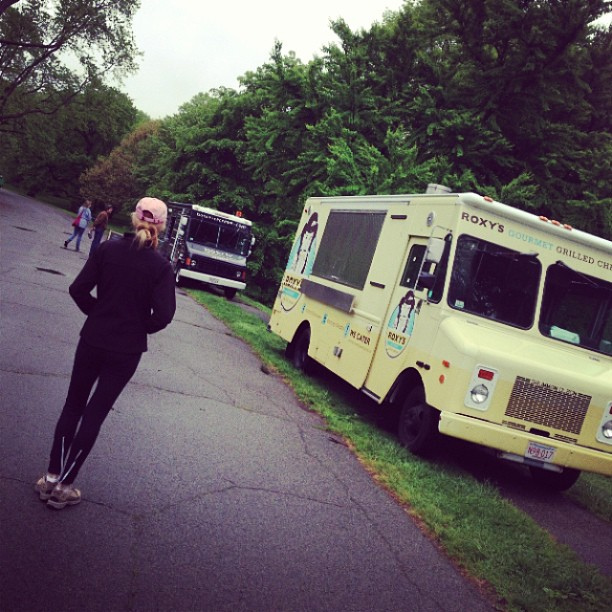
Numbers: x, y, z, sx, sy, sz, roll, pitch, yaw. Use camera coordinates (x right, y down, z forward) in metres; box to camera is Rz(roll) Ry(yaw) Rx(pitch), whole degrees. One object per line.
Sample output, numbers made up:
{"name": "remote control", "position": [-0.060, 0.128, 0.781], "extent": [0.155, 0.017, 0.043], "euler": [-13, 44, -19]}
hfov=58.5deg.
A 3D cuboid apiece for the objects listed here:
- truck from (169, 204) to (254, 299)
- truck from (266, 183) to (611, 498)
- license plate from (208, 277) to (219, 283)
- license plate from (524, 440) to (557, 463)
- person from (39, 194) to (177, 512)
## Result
{"name": "truck", "position": [-4.180, -2.295, 22.146], "extent": [2.306, 3.553, 5.104], "euler": [12, 0, -28]}
{"name": "truck", "position": [2.107, 0.204, 8.957], "extent": [2.941, 3.920, 6.337], "euler": [15, 6, -26]}
{"name": "license plate", "position": [-3.372, -0.961, 20.032], "extent": [0.354, 0.170, 0.080], "euler": [13, 0, -38]}
{"name": "license plate", "position": [2.565, 1.582, 5.971], "extent": [0.351, 0.247, 0.041], "euler": [13, 1, -14]}
{"name": "person", "position": [-1.195, 0.293, 3.411], "extent": [0.638, 1.740, 0.328], "euler": [10, 2, -17]}
